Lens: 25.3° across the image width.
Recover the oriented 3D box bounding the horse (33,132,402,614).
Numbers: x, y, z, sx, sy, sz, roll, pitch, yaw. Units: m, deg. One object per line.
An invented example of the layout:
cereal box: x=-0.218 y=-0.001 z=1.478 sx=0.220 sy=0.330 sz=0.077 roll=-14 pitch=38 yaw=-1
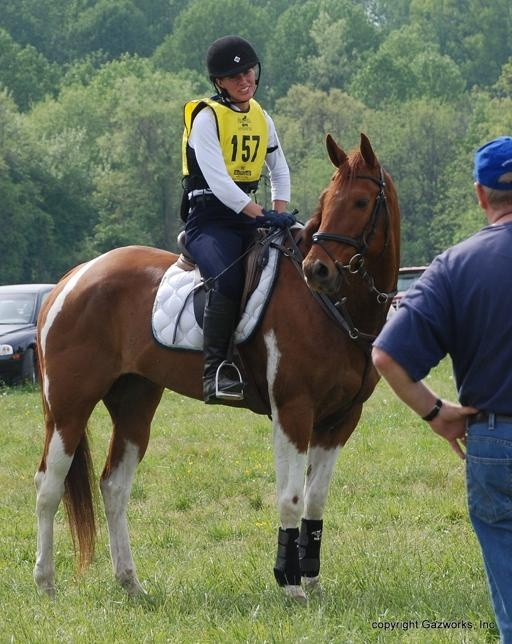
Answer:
horse: x=-0.138 y=0.433 z=7.720 sx=3.380 sy=2.802 sz=1.301 roll=-9 pitch=-15 yaw=33

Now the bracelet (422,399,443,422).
bracelet: x=0.888 y=0.431 z=5.734 sx=0.053 sy=0.084 sz=0.079 roll=38 pitch=56 yaw=21

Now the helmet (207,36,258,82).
helmet: x=-0.152 y=-1.781 z=7.502 sx=0.253 sy=0.235 sz=0.315 roll=-21 pitch=-7 yaw=-29

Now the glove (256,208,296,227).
glove: x=0.124 y=-0.679 z=7.448 sx=0.179 sy=0.078 sz=0.143 roll=3 pitch=2 yaw=19

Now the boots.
boots: x=-0.220 y=0.161 z=7.286 sx=0.257 sy=0.754 sz=0.352 roll=-2 pitch=5 yaw=-2
